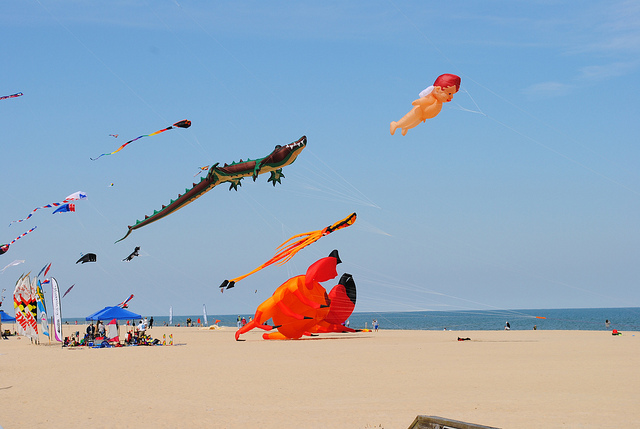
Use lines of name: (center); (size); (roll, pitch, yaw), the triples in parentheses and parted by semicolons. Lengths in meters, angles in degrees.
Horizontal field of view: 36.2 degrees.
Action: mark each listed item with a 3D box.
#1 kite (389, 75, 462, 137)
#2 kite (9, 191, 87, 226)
kite: (5.324, -5.242, 47.419); (3.215, 3.262, 2.256); (9, 1, 28)
kite: (-9.846, -0.387, 37.707); (1.994, 1.483, 3.634); (1, 3, -10)
